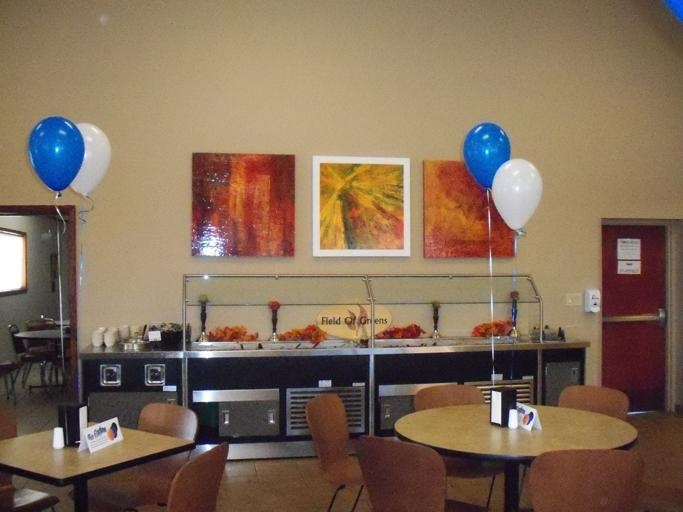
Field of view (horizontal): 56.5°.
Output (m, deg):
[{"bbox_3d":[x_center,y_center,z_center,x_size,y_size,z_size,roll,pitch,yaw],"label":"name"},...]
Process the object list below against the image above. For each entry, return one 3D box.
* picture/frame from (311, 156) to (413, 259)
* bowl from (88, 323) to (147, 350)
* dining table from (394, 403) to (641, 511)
[{"bbox_3d":[0.170,-0.505,6.686,0.978,1.062,0.039,0,1,-4],"label":"picture/frame"},{"bbox_3d":[-2.142,0.803,6.234,0.369,0.137,0.303,1,-3,0],"label":"bowl"},{"bbox_3d":[1.116,1.164,4.339,0.936,0.656,0.985,0,4,8],"label":"dining table"}]
